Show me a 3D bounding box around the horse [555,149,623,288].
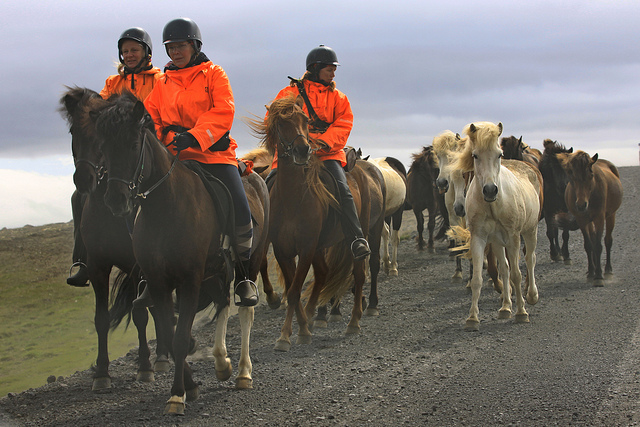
[{"bbox_3d":[6.962,-0.046,18.114,1.382,3.212,3.734,1,9,23],"label":"horse"}]

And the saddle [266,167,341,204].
[{"bbox_3d":[0.215,-0.604,14.214,0.880,0.901,2.628,1,-1,4],"label":"saddle"}]

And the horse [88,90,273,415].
[{"bbox_3d":[-2.006,0.566,11.153,1.008,4.858,2.756,4,11,37],"label":"horse"}]

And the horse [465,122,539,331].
[{"bbox_3d":[3.689,0.162,14.502,1.229,4.038,2.557,2,10,27],"label":"horse"}]

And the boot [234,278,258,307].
[{"bbox_3d":[-1.180,1.254,11.663,0.226,0.278,0.441,-7,24,-34],"label":"boot"}]
